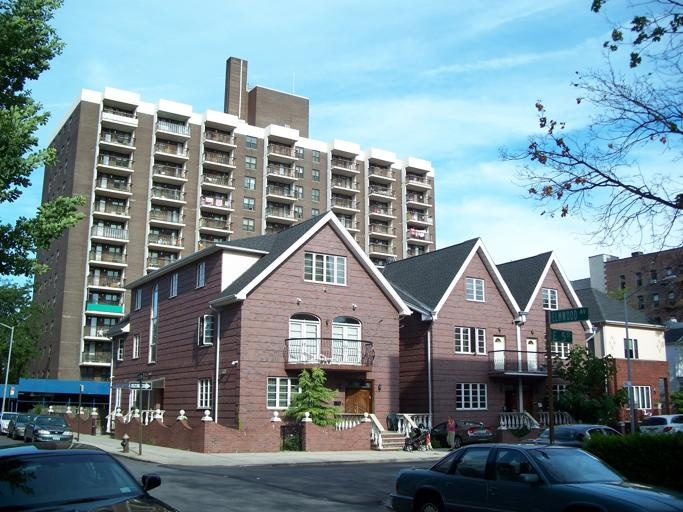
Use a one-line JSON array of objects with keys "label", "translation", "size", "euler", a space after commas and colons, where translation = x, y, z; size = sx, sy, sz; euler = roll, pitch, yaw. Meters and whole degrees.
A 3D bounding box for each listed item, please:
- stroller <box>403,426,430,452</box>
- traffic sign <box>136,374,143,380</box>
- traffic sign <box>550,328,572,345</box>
[{"label": "stroller", "translation": [4.059, 9.578, 37.061], "size": [1.329, 0.979, 1.073], "euler": [1, -10, -6]}, {"label": "traffic sign", "translation": [-8.777, 5.292, 30.711], "size": [0.119, 0.386, 0.471], "euler": [7, -18, -28]}, {"label": "traffic sign", "translation": [6.452, 2.283, 20.538], "size": [0.554, 0.355, 0.968], "euler": [-5, -15, 14]}]
